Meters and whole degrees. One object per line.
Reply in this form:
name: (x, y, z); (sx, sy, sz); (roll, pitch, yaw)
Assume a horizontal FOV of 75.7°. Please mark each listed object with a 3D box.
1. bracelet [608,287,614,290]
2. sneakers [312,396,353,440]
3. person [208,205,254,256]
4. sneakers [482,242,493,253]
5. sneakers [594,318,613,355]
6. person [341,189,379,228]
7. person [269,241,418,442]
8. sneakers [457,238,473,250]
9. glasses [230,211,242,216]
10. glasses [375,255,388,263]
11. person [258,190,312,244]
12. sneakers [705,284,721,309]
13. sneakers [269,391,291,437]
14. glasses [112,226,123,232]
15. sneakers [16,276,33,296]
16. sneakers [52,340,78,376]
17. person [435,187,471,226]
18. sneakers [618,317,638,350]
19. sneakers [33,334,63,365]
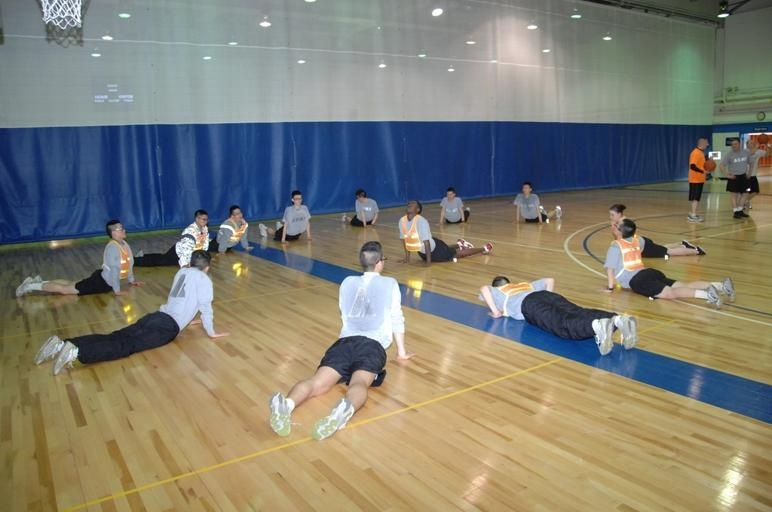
bracelet: (3.381, 0.497, 7.521); (0.040, 0.028, 0.039); (-3, 5, -13)
sneakers: (-0.450, 1.500, 4.648); (0.425, 0.166, 0.258); (-43, 57, -5)
person: (-3.497, -0.632, 11.359); (0.704, 1.085, 1.020); (-1, 13, 2)
sneakers: (2.058, -0.150, 10.299); (0.145, 0.126, 0.340); (-3, -23, -31)
sneakers: (2.450, 0.868, 5.649); (0.167, 0.462, 0.194); (-2, 7, 0)
person: (-0.677, -1.390, 14.298); (0.767, 1.095, 1.282); (-4, 13, -11)
person: (-0.311, 0.927, 5.127); (0.939, 1.202, 2.198); (11, 39, 14)
sneakers: (1.575, -0.270, 10.338); (0.210, 0.183, 0.457); (6, 5, -17)
glasses: (-3.273, -0.939, 10.875); (0.122, 0.124, 0.104); (-30, -6, 34)
glasses: (-0.063, 0.044, 5.365); (0.067, 0.091, 0.084); (7, 5, 29)
person: (-2.469, -0.969, 12.944); (0.981, 1.430, 1.745); (-6, 9, -34)
sneakers: (4.498, 0.551, 6.856); (0.142, 0.163, 0.363); (17, -21, 29)
sneakers: (-0.960, 1.441, 4.607); (0.212, 0.384, 0.162); (-9, -12, -5)
glasses: (-4.216, -0.445, 7.900); (0.091, 0.096, 0.177); (4, 14, 24)
sneakers: (-6.256, 0.528, 8.659); (0.110, 0.102, 0.264); (13, 59, 13)
sneakers: (-3.679, 1.171, 5.735); (0.253, 0.382, 0.264); (-14, 18, -41)
person: (1.878, -1.443, 14.349); (1.006, 1.326, 1.101); (-1, 16, 20)
sneakers: (2.754, 0.848, 5.714); (0.181, 0.503, 0.214); (-11, 20, 2)
sneakers: (-4.094, 1.147, 6.059); (0.363, 0.163, 0.132); (-36, -31, 19)
